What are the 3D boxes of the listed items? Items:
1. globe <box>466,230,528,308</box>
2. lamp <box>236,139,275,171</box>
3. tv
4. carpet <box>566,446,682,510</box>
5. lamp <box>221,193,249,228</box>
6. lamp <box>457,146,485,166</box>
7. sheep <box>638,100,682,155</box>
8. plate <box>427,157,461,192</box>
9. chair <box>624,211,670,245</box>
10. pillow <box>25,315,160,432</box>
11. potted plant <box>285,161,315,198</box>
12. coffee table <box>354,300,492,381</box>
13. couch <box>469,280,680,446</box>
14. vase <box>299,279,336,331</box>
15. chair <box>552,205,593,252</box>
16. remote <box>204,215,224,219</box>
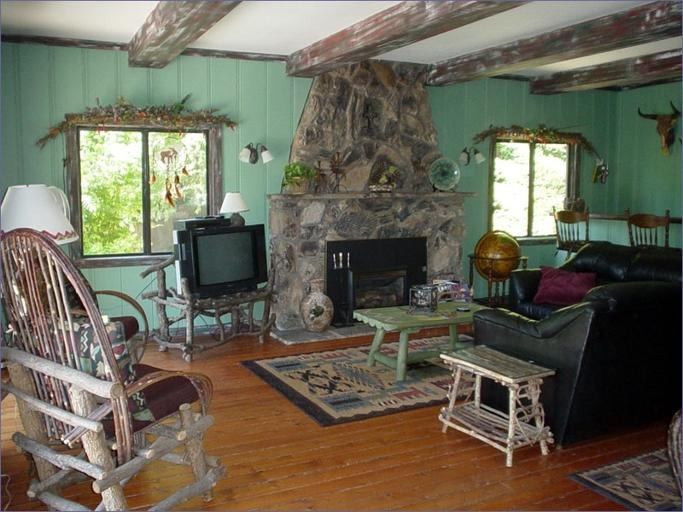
[{"bbox_3d":[2.206,0.198,7.281,0.920,0.862,0.824,2,1,6],"label":"globe"},{"bbox_3d":[-1.010,-1.204,6.036,0.394,0.253,0.256,-2,12,-10],"label":"lamp"},{"bbox_3d":[-1.277,0.041,5.300,1.027,0.560,0.539,-5,5,-40],"label":"tv"},{"bbox_3d":[1.664,1.321,3.040,0.495,0.003,0.299,-2,5,-30],"label":"carpet"},{"bbox_3d":[-1.195,-0.536,5.705,0.295,0.344,0.547,-2,11,-7],"label":"lamp"},{"bbox_3d":[1.793,-1.421,7.254,0.517,0.272,0.220,-2,2,-17],"label":"lamp"},{"bbox_3d":[4.808,-1.939,7.797,0.476,0.752,0.208,5,15,23],"label":"sheep"},{"bbox_3d":[1.311,-1.061,6.723,0.386,0.427,0.158,-5,14,-19],"label":"plate"},{"bbox_3d":[4.276,-0.392,7.178,0.526,0.533,1.104,6,12,30],"label":"chair"},{"bbox_3d":[-1.168,0.544,2.676,0.470,0.553,0.679,2,11,14],"label":"pillow"},{"bbox_3d":[-0.488,-0.924,6.026,0.394,0.363,0.330,-3,12,-10],"label":"potted plant"},{"bbox_3d":[0.660,0.636,4.780,1.589,0.505,0.763,-2,3,-29],"label":"coffee table"},{"bbox_3d":[1.724,0.656,3.999,1.542,0.878,1.227,-4,8,-24],"label":"couch"},{"bbox_3d":[-0.312,0.568,5.988,0.370,0.585,0.315,-4,13,-15],"label":"vase"},{"bbox_3d":[3.434,-0.370,7.739,0.530,0.677,0.977,5,12,23],"label":"chair"},{"bbox_3d":[-1.350,-0.410,5.420,0.192,0.024,0.347,-2,9,-11],"label":"remote"}]
